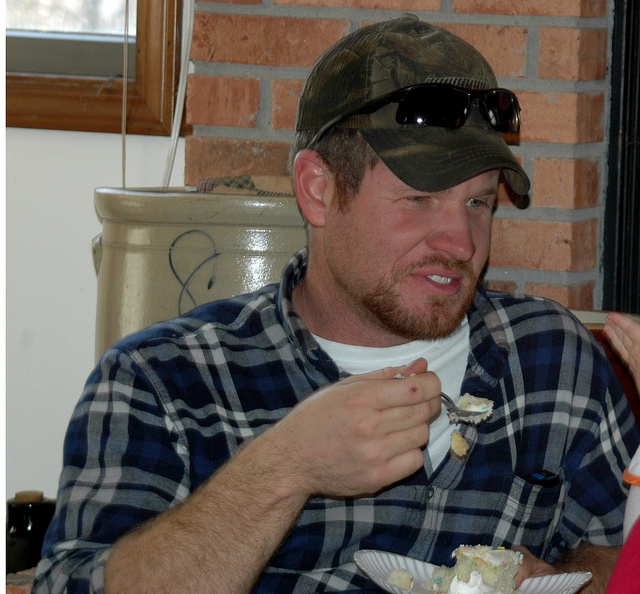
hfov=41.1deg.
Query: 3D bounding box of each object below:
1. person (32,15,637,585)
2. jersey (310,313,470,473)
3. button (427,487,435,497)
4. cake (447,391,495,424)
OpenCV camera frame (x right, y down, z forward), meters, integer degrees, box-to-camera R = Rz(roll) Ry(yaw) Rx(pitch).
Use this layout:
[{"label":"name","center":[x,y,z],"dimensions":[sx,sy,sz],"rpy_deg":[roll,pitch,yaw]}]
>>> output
[{"label":"person","center":[0.087,-0.003,1.325],"dimensions":[0.987,0.904,0.469],"rpy_deg":[1,5,-16]},{"label":"jersey","center":[0.130,0.122,1.475],"dimensions":[0.247,0.214,0.239],"rpy_deg":[-1,6,-8]},{"label":"button","center":[0.177,0.305,1.353],"dimensions":[0.014,0.014,0.003],"rpy_deg":[-2,6,-42]},{"label":"cake","center":[0.239,0.169,1.347],"dimensions":[0.063,0.020,0.063],"rpy_deg":[3,46,35]}]
